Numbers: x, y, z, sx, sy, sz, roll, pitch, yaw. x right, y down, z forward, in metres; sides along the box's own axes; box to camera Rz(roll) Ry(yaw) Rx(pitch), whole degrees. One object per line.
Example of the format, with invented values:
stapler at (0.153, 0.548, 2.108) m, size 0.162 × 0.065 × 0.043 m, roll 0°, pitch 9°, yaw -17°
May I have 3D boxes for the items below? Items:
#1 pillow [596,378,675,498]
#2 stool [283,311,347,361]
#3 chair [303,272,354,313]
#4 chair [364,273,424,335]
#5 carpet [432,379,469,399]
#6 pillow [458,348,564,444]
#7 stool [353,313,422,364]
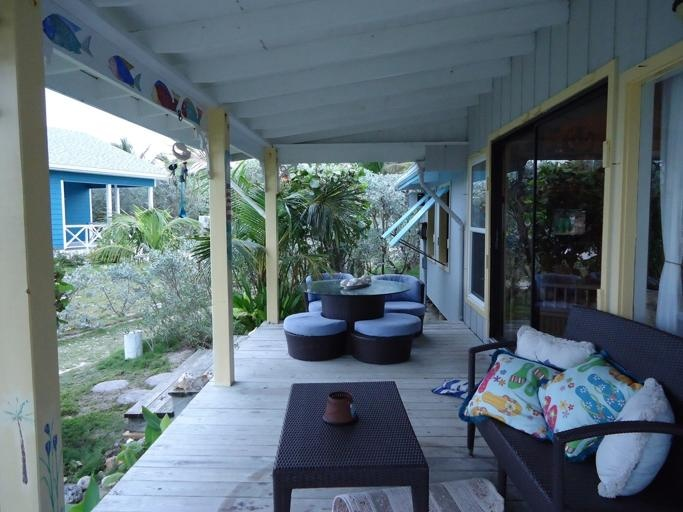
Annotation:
pillow at (1.353, 0.852, 2.046) m, size 0.183 × 0.350 × 0.331 m, roll 10°, pitch 50°, yaw 20°
stool at (-0.310, 0.948, 5.215) m, size 0.513 × 0.320 × 0.532 m, roll 1°, pitch 6°, yaw -2°
chair at (-0.227, 0.564, 6.337) m, size 0.600 × 0.670 × 0.628 m, roll -4°, pitch -10°, yaw 14°
chair at (0.675, 0.676, 6.155) m, size 0.804 × 0.813 × 0.816 m, roll 1°, pitch 1°, yaw -23°
carpet at (1.017, 1.234, 4.185) m, size 0.308 × 0.102 × 0.312 m, roll 1°, pitch 4°, yaw 19°
pillow at (1.023, 0.809, 2.656) m, size 0.126 × 0.432 × 0.418 m, roll 39°, pitch -14°, yaw -22°
stool at (0.469, 0.929, 4.988) m, size 0.568 × 0.336 × 0.496 m, roll 0°, pitch 3°, yaw 2°
